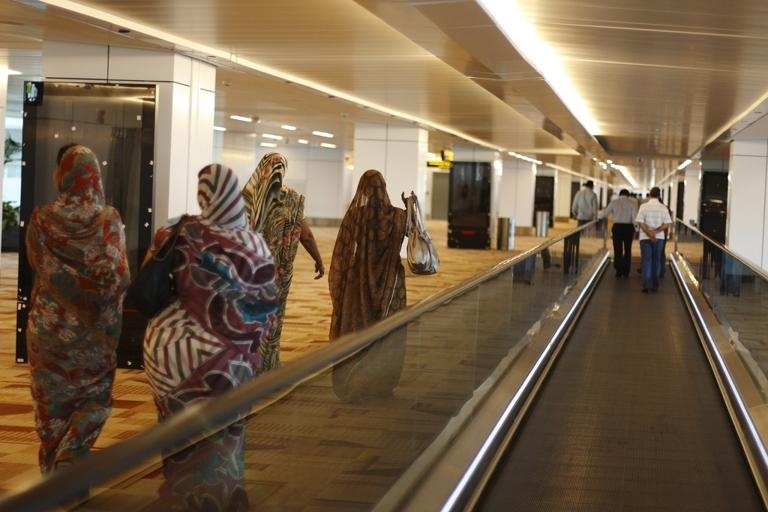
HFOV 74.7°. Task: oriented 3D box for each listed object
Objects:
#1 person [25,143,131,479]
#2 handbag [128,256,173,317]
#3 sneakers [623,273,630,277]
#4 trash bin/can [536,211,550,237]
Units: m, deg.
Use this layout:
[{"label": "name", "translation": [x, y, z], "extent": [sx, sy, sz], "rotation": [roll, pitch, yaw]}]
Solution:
[{"label": "person", "translation": [-1.972, 0.351, 3.273], "extent": [0.556, 2.125, 0.528], "rotation": [7, 7, 44]}, {"label": "handbag", "translation": [-1.174, 0.158, 2.530], "extent": [0.206, 0.330, 0.130], "rotation": [4, 6, 16]}, {"label": "sneakers", "translation": [6.656, 0.538, 13.786], "extent": [0.147, 0.095, 0.073], "rotation": [-1, -4, -11]}, {"label": "trash bin/can", "translation": [8.808, -1.755, 28.100], "extent": [0.643, 1.341, 1.013], "rotation": [3, 6, 13]}]
